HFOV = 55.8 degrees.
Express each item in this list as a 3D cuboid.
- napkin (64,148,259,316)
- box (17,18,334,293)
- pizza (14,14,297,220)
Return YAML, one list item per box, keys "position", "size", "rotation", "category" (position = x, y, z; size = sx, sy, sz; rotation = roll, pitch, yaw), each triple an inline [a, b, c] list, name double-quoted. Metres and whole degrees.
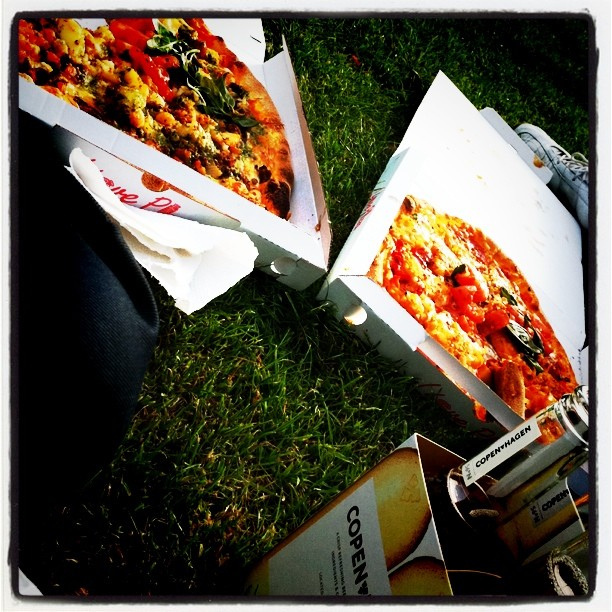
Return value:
- position: [-0.234, -0.129, 0.927]
  size: [0.357, 0.131, 0.275]
  rotation: [13, 42, 4]
  category: "napkin"
- position: [-0.299, -0.328, 1.336]
  size: [0.774, 0.583, 0.566]
  rotation: [-18, 51, -13]
  category: "box"
- position: [-0.285, -0.435, 1.167]
  size: [0.555, 0.074, 0.452]
  rotation: [23, 44, -29]
  category: "pizza"
